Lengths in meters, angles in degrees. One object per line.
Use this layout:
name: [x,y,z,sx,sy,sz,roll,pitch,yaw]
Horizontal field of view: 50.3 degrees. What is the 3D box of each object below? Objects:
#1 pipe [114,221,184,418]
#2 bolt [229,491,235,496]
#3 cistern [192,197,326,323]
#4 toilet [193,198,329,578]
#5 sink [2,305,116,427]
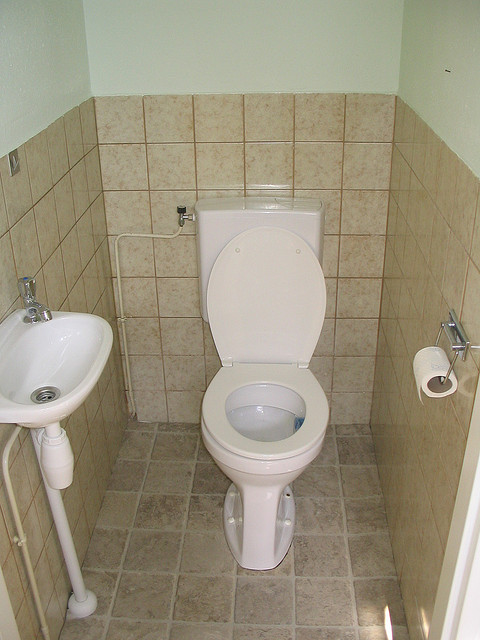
pipe: [-0.382,0.054,2.226,0.297,0.964,0.047,3,25,6]
bolt: [-0.033,0.663,1.952,0.021,0.009,0.019,-9,34,-13]
cistern: [0.068,-0.112,2.111,0.552,0.695,0.374,0,27,-1]
toilet: [0.075,0.245,1.848,0.354,1.144,0.739,2,26,3]
sink: [-0.387,0.096,1.125,0.172,0.139,0.352,9,39,-4]
